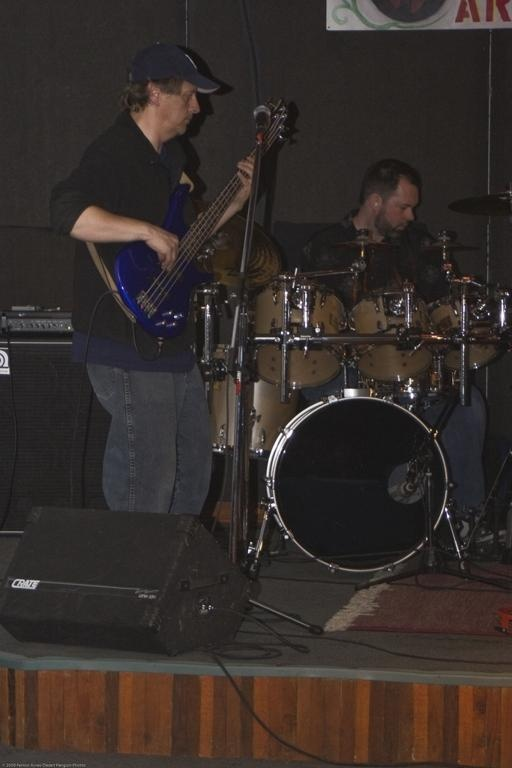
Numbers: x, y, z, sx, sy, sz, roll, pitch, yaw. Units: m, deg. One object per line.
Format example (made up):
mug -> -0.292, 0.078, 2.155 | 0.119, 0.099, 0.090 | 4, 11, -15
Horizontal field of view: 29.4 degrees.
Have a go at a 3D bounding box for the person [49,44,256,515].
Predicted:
person -> -0.305, -0.313, 2.764 | 0.432, 1.364, 0.603 | 3, -4, 14

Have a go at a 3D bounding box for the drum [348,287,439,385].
drum -> 0.445, -0.166, 3.272 | 0.290, 0.309, 0.271 | 3, -5, 8

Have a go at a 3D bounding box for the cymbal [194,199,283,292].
cymbal -> -0.069, -0.490, 3.445 | 0.385, 0.338, 0.086 | 0, 14, -32

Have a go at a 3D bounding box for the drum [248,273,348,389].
drum -> 0.235, -0.178, 3.434 | 0.366, 0.359, 0.357 | 4, 2, 21

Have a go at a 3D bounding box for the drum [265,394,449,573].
drum -> 0.380, 0.356, 3.294 | 0.661, 0.630, 0.659 | 2, -6, -11

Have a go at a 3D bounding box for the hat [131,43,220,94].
hat -> -0.228, -0.907, 2.790 | 0.272, 0.131, 0.167 | 5, 17, 8

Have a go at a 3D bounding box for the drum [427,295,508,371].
drum -> 0.731, -0.178, 3.380 | 0.271, 0.243, 0.356 | 3, -5, 9
